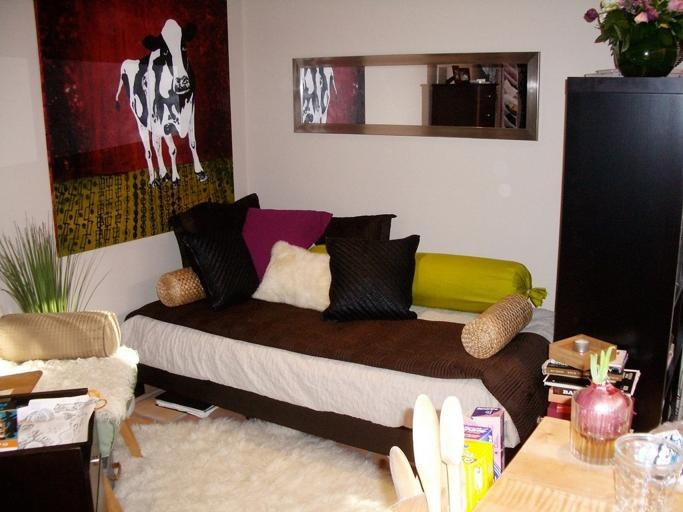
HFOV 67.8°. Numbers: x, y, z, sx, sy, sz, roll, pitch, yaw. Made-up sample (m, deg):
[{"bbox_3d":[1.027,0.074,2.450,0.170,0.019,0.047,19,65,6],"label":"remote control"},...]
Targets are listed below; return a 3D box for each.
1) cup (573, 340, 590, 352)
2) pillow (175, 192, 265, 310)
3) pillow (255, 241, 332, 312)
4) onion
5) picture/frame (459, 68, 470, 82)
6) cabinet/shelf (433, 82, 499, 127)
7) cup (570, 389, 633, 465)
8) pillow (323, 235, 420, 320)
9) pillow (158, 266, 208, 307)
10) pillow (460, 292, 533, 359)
[{"bbox_3d":[0.936,0.351,1.977,0.040,0.033,0.042,0,-4,0],"label":"cup"},{"bbox_3d":[-0.916,-0.031,3.370,0.187,0.694,0.666,-18,3,27],"label":"pillow"},{"bbox_3d":[-0.268,0.143,3.232,0.550,0.369,0.185,10,-4,34],"label":"pillow"},{"bbox_3d":[0.614,0.328,1.204,0.127,0.231,0.138,-4,6,-1],"label":"onion"},{"bbox_3d":[0.820,-1.209,3.385,0.068,0.086,0.007,5,15,22],"label":"picture/frame"},{"bbox_3d":[0.833,-1.014,3.435,0.400,0.317,0.433,3,-16,7],"label":"cabinet/shelf"},{"bbox_3d":[0.584,0.365,1.183,0.128,0.175,0.153,3,4,32],"label":"cup"},{"bbox_3d":[0.165,0.137,3.022,0.433,0.468,0.170,0,-9,2],"label":"pillow"},{"bbox_3d":[-1.040,0.196,3.382,0.225,0.242,0.275,-11,3,20],"label":"pillow"},{"bbox_3d":[0.819,0.361,2.672,0.176,0.190,0.532,11,19,40],"label":"pillow"}]
